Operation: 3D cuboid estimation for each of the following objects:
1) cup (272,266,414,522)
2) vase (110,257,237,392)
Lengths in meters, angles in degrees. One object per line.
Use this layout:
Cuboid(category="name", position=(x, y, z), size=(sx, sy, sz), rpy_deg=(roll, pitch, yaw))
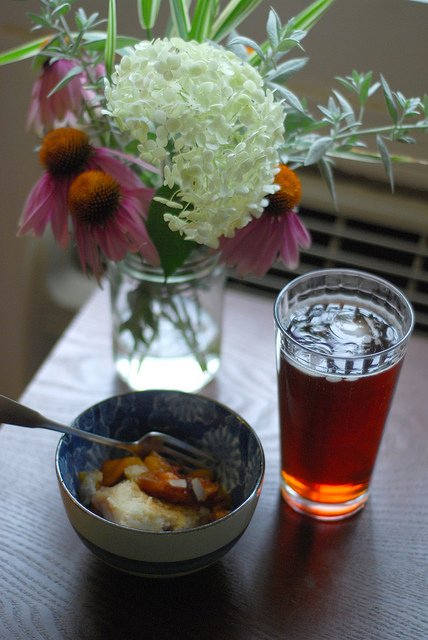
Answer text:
Cuboid(category="cup", position=(0.102, 0.072, 0.485), size=(0.104, 0.204, 0.131), rpy_deg=(12, 34, 20))
Cuboid(category="vase", position=(-0.038, 0.002, 0.599), size=(0.090, 0.137, 0.091), rpy_deg=(-13, 19, -37))
